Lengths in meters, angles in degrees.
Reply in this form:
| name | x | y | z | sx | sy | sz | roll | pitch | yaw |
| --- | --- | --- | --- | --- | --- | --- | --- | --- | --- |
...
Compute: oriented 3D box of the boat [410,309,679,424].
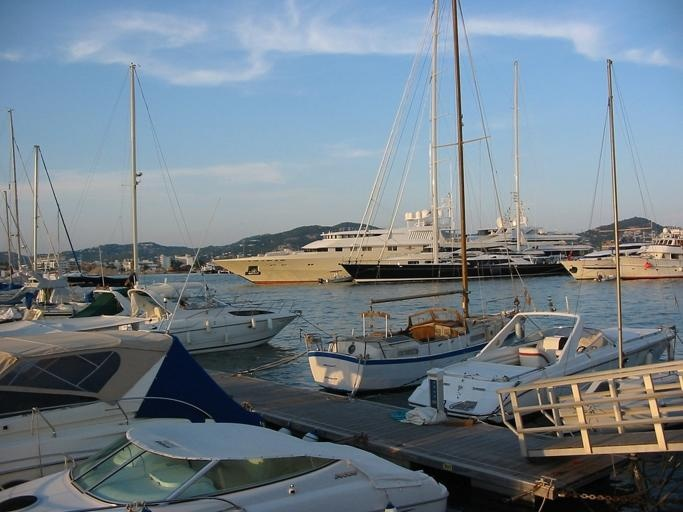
| name | x | y | z | sx | sy | sz | roll | pitch | yaw |
| --- | --- | --- | --- | --- | --- | --- | --- | --- | --- |
| boat | 5.301 | 2.431 | 14.808 | 7.835 | 1.495 | 2.570 | -6 | 4 | -36 |
